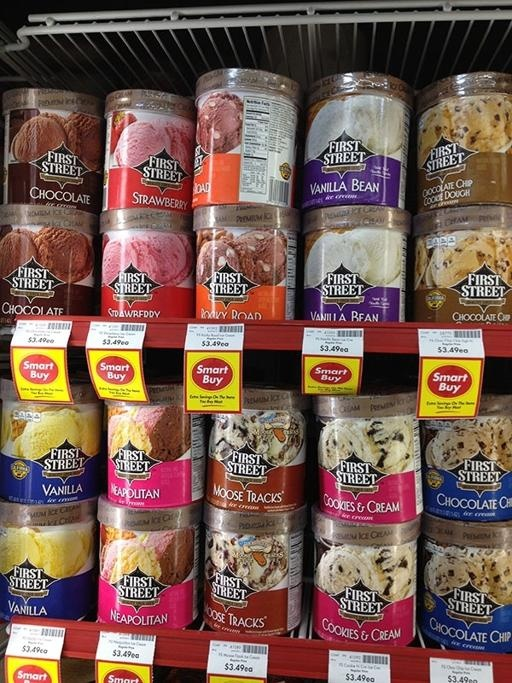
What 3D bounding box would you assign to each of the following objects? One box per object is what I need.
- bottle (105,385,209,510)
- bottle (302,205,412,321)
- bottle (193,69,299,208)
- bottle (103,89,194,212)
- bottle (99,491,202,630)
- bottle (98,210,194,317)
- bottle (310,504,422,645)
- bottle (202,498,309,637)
[{"bbox_3d":[-0.202,0.205,1.231,0.259,0.239,0.240,-1,-5,3],"label":"bottle"},{"bbox_3d":[0.192,-0.153,1.198,0.210,0.224,0.087,1,2,10],"label":"bottle"},{"bbox_3d":[-0.018,-0.417,1.329,0.286,0.265,0.268,0,1,4],"label":"bottle"},{"bbox_3d":[-0.196,-0.405,1.362,0.265,0.245,0.246,0,-1,-4],"label":"bottle"},{"bbox_3d":[-0.168,0.469,1.333,0.270,0.252,0.251,1,-8,1],"label":"bottle"},{"bbox_3d":[-0.228,-0.159,1.328,0.230,0.214,0.218,-1,-2,19],"label":"bottle"},{"bbox_3d":[0.176,0.472,1.280,0.265,0.246,0.247,0,-6,2],"label":"bottle"},{"bbox_3d":[-0.004,0.476,1.318,0.272,0.251,0.250,1,-8,1],"label":"bottle"}]
